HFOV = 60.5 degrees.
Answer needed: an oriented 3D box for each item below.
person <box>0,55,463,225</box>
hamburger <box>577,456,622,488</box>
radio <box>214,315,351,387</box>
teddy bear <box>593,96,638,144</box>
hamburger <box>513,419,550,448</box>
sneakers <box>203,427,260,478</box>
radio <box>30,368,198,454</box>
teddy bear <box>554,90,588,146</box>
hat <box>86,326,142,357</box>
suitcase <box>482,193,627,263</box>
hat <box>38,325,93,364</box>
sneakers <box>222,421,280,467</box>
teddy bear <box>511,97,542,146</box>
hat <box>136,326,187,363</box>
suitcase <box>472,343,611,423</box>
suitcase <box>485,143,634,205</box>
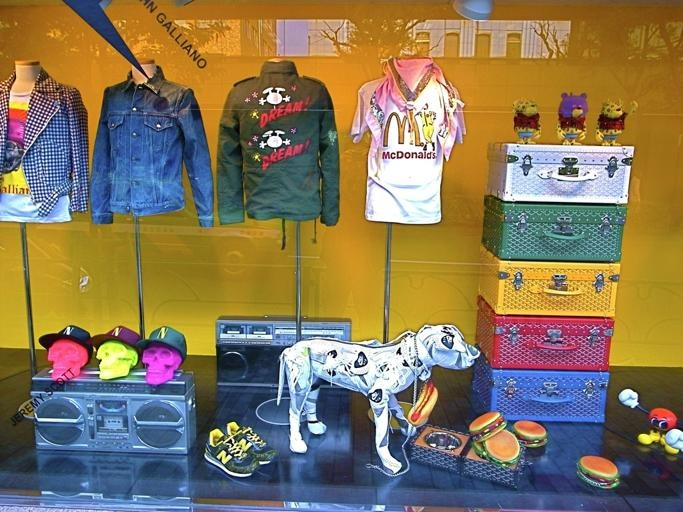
[{"bbox_3d":[-0.233,-0.590,3.147,1.810,0.871,0.207,-1,14,-1],"label":"person"},{"bbox_3d":[1.301,1.081,2.957,0.192,0.076,0.187,-13,18,-40],"label":"hamburger"},{"bbox_3d":[-0.348,0.595,3.664,0.860,0.437,0.267,-2,0,10],"label":"radio"},{"bbox_3d":[1.418,-0.732,3.164,0.240,0.248,0.190,-10,17,-12],"label":"teddy bear"},{"bbox_3d":[1.033,0.967,3.214,0.179,0.090,0.196,6,15,27],"label":"hamburger"},{"bbox_3d":[-0.566,0.985,2.998,0.321,0.124,0.136,13,12,32],"label":"sneakers"},{"bbox_3d":[-1.206,0.831,3.197,0.848,0.399,0.325,0,8,3],"label":"radio"},{"bbox_3d":[1.233,-0.734,3.132,0.145,0.267,0.235,4,15,22],"label":"teddy bear"},{"bbox_3d":[-1.204,0.435,3.128,0.141,0.092,0.204,-14,-37,41],"label":"hat"},{"bbox_3d":[1.427,-0.118,3.421,0.573,0.302,0.708,4,0,-36],"label":"suitcase"},{"bbox_3d":[-1.466,0.444,3.184,0.190,0.234,0.117,-1,49,0],"label":"hat"},{"bbox_3d":[-0.481,0.970,3.088,0.329,0.120,0.117,15,23,28],"label":"sneakers"},{"bbox_3d":[0.991,-0.716,3.129,0.181,0.220,0.137,-3,14,-8],"label":"teddy bear"},{"bbox_3d":[-0.948,0.463,3.182,0.214,0.139,0.274,2,-31,1],"label":"hat"},{"bbox_3d":[1.230,0.783,3.578,0.687,0.275,0.551,2,3,15],"label":"suitcase"},{"bbox_3d":[1.212,-0.527,3.411,0.761,0.312,0.580,1,19,-11],"label":"suitcase"}]
